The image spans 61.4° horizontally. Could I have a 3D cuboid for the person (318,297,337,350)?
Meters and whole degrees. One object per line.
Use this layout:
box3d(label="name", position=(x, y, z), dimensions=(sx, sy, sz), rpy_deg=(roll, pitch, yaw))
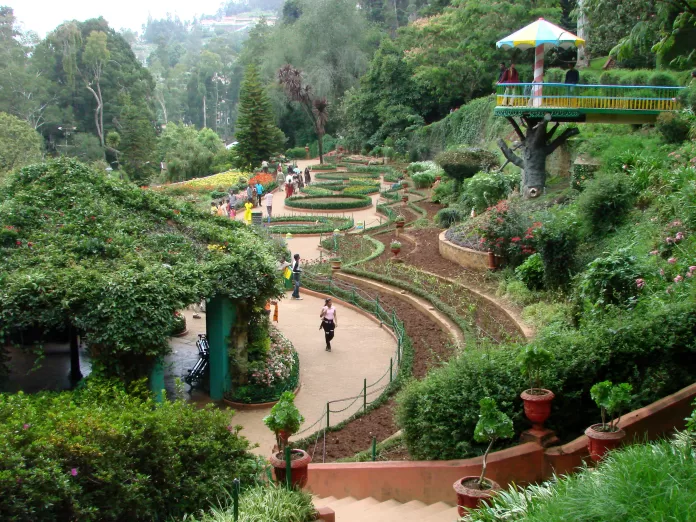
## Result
box3d(label="person", position=(-0.495, 1.515, 14.574), dimensions=(0.354, 1.250, 1.048), rpy_deg=(-2, 6, -2))

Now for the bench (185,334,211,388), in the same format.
box3d(label="bench", position=(-3.225, 2.196, 12.587), dimensions=(0.472, 0.344, 1.202), rpy_deg=(-13, 39, 17))

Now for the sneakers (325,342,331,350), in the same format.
box3d(label="sneakers", position=(-0.488, 2.094, 14.378), dimensions=(0.081, 0.156, 0.236), rpy_deg=(-1, 2, -12))

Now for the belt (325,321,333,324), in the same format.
box3d(label="belt", position=(-0.479, 1.459, 14.109), dimensions=(0.197, 0.061, 0.054), rpy_deg=(-2, 6, -3))

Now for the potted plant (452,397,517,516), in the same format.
box3d(label="potted plant", position=(1.448, 2.072, 6.238), dimensions=(0.577, 1.149, 1.709), rpy_deg=(0, 7, 15))

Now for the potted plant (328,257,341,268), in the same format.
box3d(label="potted plant", position=(-0.398, 0.103, 19.123), dimensions=(0.319, 0.329, 0.298), rpy_deg=(6, 11, 40))

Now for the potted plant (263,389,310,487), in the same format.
box3d(label="potted plant", position=(-0.707, 2.175, 6.814), dimensions=(0.471, 1.168, 1.255), rpy_deg=(-3, 6, -8))

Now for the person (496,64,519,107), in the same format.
box3d(label="person", position=(5.139, -5.560, 18.647), dimensions=(0.688, 1.406, 0.437), rpy_deg=(7, -11, -6))

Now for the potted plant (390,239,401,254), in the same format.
box3d(label="potted plant", position=(1.514, -0.413, 18.462), dimensions=(0.386, 0.449, 0.379), rpy_deg=(-3, 21, -11))

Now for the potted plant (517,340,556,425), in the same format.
box3d(label="potted plant", position=(2.320, 1.545, 7.195), dimensions=(0.386, 1.092, 0.547), rpy_deg=(0, 7, 19))

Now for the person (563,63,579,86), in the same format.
box3d(label="person", position=(7.042, -5.872, 18.499), dimensions=(0.397, 0.879, 1.530), rpy_deg=(0, 7, 20))

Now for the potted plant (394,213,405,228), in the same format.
box3d(label="potted plant", position=(1.897, -1.447, 21.698), dimensions=(0.485, 0.633, 0.525), rpy_deg=(0, 4, -1))
